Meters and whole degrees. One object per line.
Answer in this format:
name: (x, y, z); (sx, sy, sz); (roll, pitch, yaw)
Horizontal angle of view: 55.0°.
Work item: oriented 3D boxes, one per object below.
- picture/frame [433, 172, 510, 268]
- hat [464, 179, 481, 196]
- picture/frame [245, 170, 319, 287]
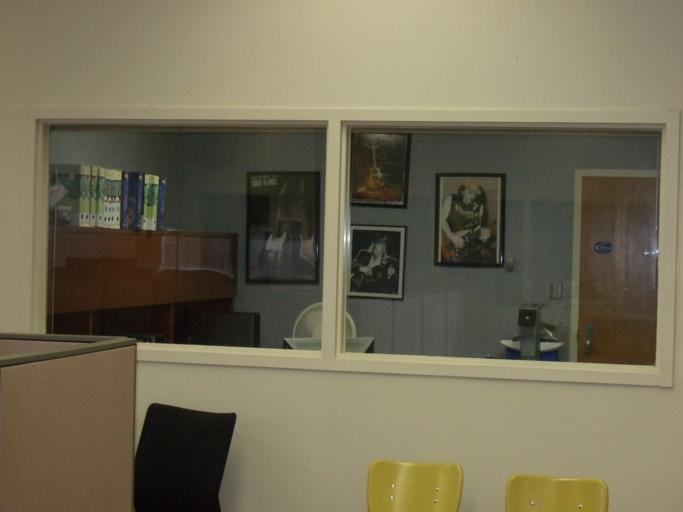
picture/frame: (0.730, -0.193, 3.599); (0.418, 0.662, 0.045); (1, 1, 3)
hat: (0.718, -0.389, 3.606); (0.063, 0.094, 0.072); (-29, 14, -12)
picture/frame: (-0.340, -0.168, 3.706); (0.408, 0.690, 0.022); (0, -19, -5)
